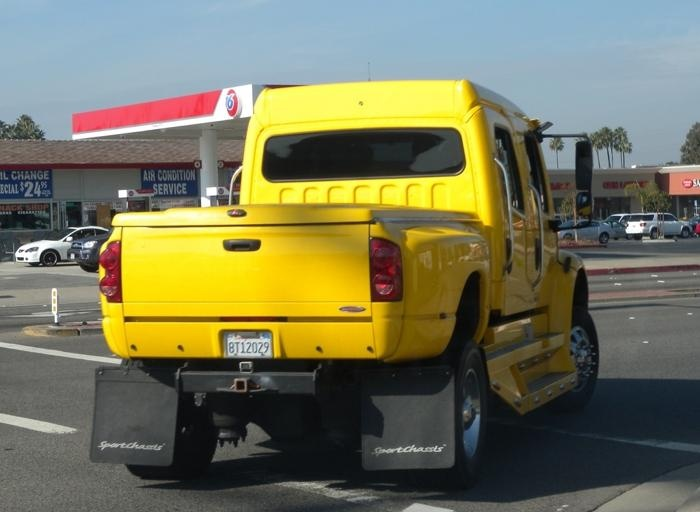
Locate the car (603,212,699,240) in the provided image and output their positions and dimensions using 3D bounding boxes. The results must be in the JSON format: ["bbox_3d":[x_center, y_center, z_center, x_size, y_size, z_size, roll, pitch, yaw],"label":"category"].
[{"bbox_3d":[25.651,-2.342,56.263,8.608,1.947,3.750,-1,2,-6],"label":"car"}]

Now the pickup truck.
[{"bbox_3d":[0.472,0.049,7.621,3.605,3.163,6.149,0,5,31],"label":"pickup truck"}]

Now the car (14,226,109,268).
[{"bbox_3d":[-15.185,-0.446,33.893,4.603,1.553,2.143,-1,2,-23],"label":"car"}]

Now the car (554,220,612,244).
[{"bbox_3d":[11.255,-0.979,32.554,2.925,1.165,1.424,2,1,4],"label":"car"}]
